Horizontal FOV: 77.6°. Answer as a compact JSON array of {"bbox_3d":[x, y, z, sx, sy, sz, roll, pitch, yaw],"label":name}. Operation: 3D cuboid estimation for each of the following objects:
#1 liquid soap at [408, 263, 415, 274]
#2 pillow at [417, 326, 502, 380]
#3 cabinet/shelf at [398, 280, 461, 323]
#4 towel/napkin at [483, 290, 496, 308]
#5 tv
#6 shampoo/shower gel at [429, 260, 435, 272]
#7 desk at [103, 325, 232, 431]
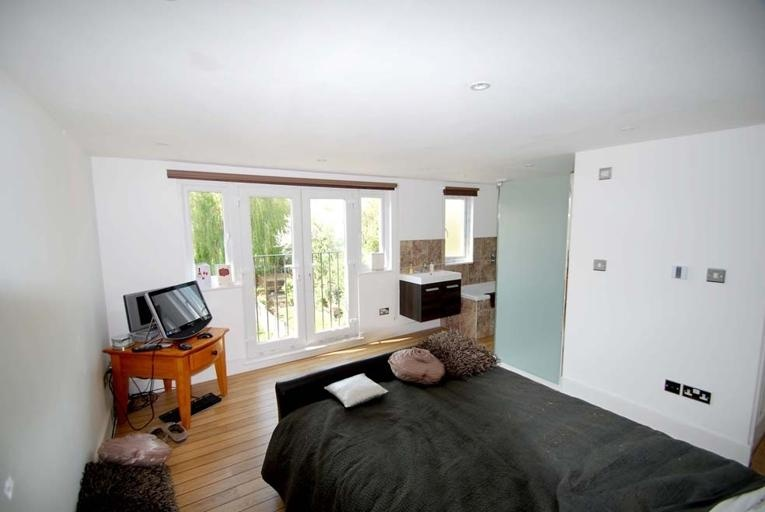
[{"bbox_3d":[0.434,0.179,6.923,0.052,0.142,0.121,2,7,38],"label":"liquid soap"},{"bbox_3d":[0.693,0.890,4.509,0.464,0.196,0.482,-5,12,-23],"label":"pillow"},{"bbox_3d":[0.701,0.580,6.894,0.868,0.514,0.507,-2,5,-44],"label":"cabinet/shelf"},{"bbox_3d":[1.643,0.649,7.241,0.128,0.216,0.666,-2,5,11],"label":"towel/napkin"},{"bbox_3d":[-2.065,0.560,4.777,0.065,0.521,0.605,-27,-4,15],"label":"tv"},{"bbox_3d":[0.740,0.157,7.093,0.078,0.132,0.177,-2,5,9],"label":"shampoo/shower gel"},{"bbox_3d":[-2.143,1.225,4.906,0.936,0.734,0.978,1,5,-2],"label":"desk"}]
